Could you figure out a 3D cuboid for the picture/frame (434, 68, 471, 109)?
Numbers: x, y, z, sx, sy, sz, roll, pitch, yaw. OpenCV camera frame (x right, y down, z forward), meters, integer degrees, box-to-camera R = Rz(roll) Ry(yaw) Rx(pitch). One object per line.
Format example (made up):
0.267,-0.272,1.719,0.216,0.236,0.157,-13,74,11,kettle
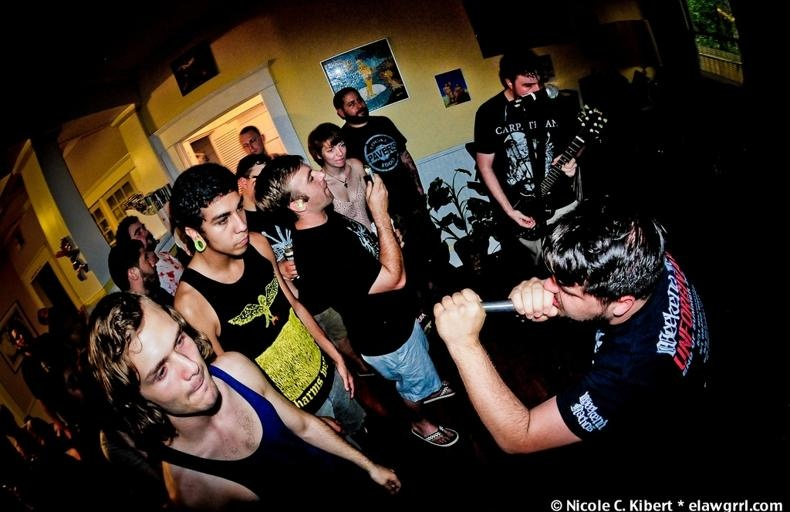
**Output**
0.623,-1.826,5.072,0.365,0.362,0.015,-13,39,4,picture/frame

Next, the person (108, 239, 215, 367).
-1.683,0.345,3.444,0.289,0.962,0.320,-49,-14,-3,person

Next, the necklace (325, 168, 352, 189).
-0.548,-0.772,4.751,0.197,0.050,0.106,19,36,20,necklace

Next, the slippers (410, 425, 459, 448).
0.340,1.512,3.992,0.374,0.103,0.167,7,50,20,slippers

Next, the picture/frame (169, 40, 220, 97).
-1.920,-1.834,4.558,0.435,0.356,0.057,-27,26,4,picture/frame

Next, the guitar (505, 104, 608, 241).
1.504,-0.703,4.584,0.193,0.587,1.555,-5,-41,-47,guitar

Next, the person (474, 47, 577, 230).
1.357,-1.145,4.857,0.990,1.734,0.435,-7,10,15,person

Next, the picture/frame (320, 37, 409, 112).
-0.327,-1.902,4.865,0.724,0.580,0.024,-18,36,10,picture/frame

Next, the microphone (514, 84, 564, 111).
1.307,-1.463,4.409,0.424,0.154,0.068,-22,14,-3,microphone
